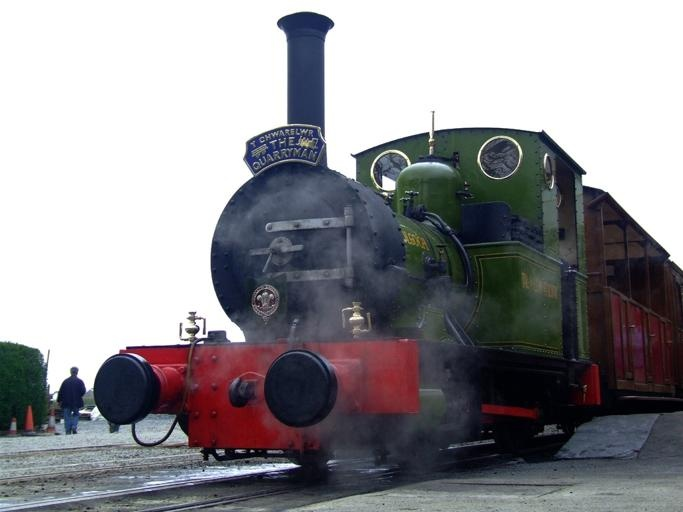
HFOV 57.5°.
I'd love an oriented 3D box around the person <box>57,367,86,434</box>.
[{"bbox_3d":[-6.475,3.436,14.798,0.619,1.534,1.619,1,-14,-23],"label":"person"}]
